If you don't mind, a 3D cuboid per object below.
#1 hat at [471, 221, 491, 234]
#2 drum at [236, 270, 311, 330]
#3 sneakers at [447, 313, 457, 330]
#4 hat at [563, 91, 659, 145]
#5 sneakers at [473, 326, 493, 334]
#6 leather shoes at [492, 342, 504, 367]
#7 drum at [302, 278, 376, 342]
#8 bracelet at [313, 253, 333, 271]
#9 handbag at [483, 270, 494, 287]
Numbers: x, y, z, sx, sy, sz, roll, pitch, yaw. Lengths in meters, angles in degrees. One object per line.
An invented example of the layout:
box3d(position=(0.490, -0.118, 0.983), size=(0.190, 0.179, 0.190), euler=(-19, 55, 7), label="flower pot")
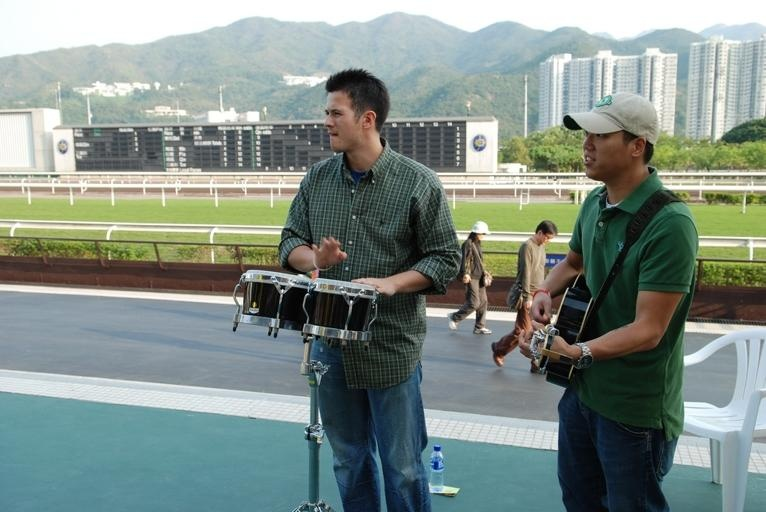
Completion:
box3d(position=(1.368, -0.369, 10.907), size=(0.315, 0.205, 0.399), euler=(2, 2, -1), label="hat")
box3d(position=(-0.721, 0.289, 5.290), size=(0.433, 0.351, 0.434), euler=(9, 0, 18), label="drum")
box3d(position=(0.975, 0.923, 11.082), size=(0.090, 0.111, 0.260), euler=(-7, 25, 0), label="sneakers")
box3d(position=(1.448, -0.842, 4.929), size=(0.494, 0.234, 0.322), euler=(11, 8, -6), label="hat")
box3d(position=(1.382, 1.039, 10.877), size=(0.237, 0.103, 0.099), euler=(0, 5, -8), label="sneakers")
box3d(position=(1.376, 1.173, 9.322), size=(0.129, 0.302, 0.237), euler=(3, 9, 11), label="leather shoes")
box3d(position=(-0.291, 0.342, 5.015), size=(0.427, 0.306, 0.437), euler=(9, -1, 0), label="drum")
box3d(position=(-0.411, 0.053, 5.203), size=(0.120, 0.140, 0.195), euler=(0, 9, -4), label="bracelet")
box3d(position=(1.532, 0.346, 11.398), size=(0.156, 0.133, 0.399), euler=(18, 19, 1), label="handbag")
